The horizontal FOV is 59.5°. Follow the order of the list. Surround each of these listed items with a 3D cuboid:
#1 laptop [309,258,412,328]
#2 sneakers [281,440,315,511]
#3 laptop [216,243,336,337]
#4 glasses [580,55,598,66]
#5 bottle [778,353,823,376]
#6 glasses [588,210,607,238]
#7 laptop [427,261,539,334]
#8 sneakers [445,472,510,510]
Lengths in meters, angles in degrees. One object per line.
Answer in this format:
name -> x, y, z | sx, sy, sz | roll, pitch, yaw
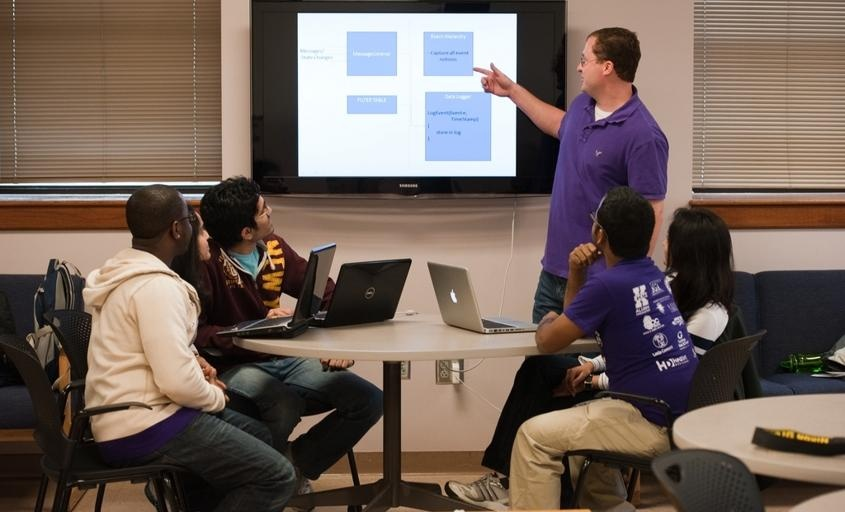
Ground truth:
laptop -> -0.319, 0.152, 3.839 | 0.439, 0.326, 0.379 | -4, 14, -40
sneakers -> -0.674, 1.233, 4.125 | 0.272, 0.372, 0.136 | -9, -23, 23
laptop -> -0.750, 0.171, 3.812 | 0.564, 0.426, 0.621 | -2, 1, -7
glasses -> 0.935, -1.107, 4.153 | 0.085, 0.026, 0.081 | 5, 2, -6
bottle -> 2.397, 0.682, 4.629 | 0.255, 0.105, 0.178 | -1, 9, -3
glasses -> 0.869, -0.166, 3.662 | 0.044, 0.146, 0.143 | 1, -5, 11
laptop -> 0.306, 0.218, 3.894 | 0.475, 0.312, 0.527 | 2, 2, -19
sneakers -> 0.319, 1.318, 4.170 | 0.402, 0.187, 0.150 | 14, -19, -8
